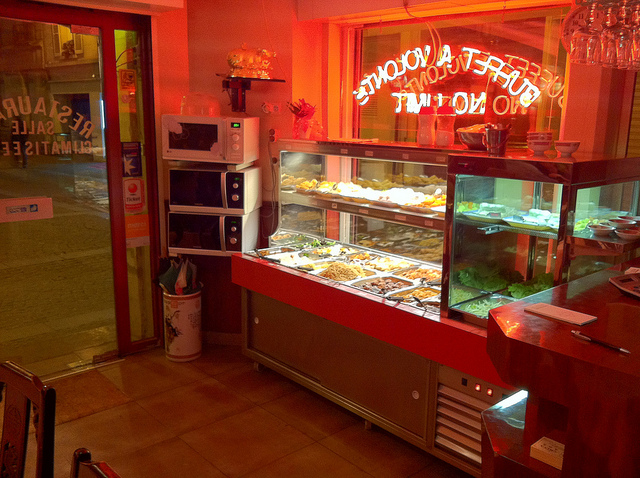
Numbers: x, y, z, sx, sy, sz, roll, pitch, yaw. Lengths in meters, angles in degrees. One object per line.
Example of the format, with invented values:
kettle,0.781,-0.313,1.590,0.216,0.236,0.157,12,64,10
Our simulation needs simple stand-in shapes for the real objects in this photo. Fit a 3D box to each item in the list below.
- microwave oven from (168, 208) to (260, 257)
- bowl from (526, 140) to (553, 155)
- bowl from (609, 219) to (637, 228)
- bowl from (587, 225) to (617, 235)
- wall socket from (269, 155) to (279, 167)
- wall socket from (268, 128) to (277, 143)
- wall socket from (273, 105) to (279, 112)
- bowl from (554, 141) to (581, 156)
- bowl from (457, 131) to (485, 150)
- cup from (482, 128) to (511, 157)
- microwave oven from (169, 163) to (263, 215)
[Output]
microwave oven,-0.997,-0.043,4.565,0.850,0.398,0.274,-2,14,-10
bowl,1.305,-0.543,2.924,0.106,0.053,0.102,0,8,0
bowl,1.786,-0.087,2.865,0.086,0.029,0.083,-1,9,0
bowl,1.607,-0.047,2.764,0.159,0.052,0.060,-3,14,-16
wall socket,-0.433,-0.755,4.736,0.041,0.105,0.142,-12,19,-43
wall socket,-0.456,-0.996,4.713,0.131,0.137,0.049,9,16,30
wall socket,-0.413,-1.232,4.626,0.067,0.058,0.032,-6,15,-25
bowl,1.400,-0.513,2.788,0.104,0.052,0.100,0,7,0
bowl,1.012,-0.651,3.237,0.118,0.117,0.189,-8,16,-31
cup,1.057,-0.575,2.904,0.125,0.161,0.187,5,14,17
microwave oven,-0.949,-0.460,4.557,0.796,0.422,0.495,3,9,15
